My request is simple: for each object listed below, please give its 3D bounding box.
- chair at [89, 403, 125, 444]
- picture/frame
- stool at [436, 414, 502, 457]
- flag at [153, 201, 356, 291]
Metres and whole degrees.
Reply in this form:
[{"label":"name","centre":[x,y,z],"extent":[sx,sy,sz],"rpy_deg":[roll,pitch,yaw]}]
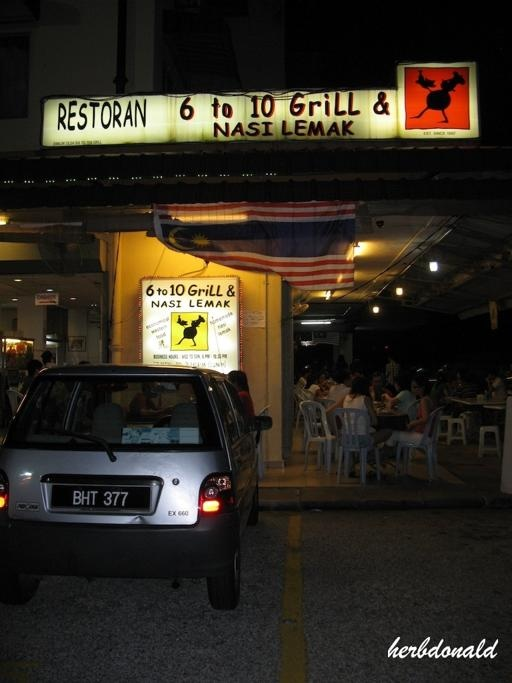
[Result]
[{"label":"chair","centre":[-0.864,0.484,3.611],"extent":[0.192,0.269,0.236],"rpy_deg":[1,-5,-3]},{"label":"picture/frame","centre":[-0.954,-0.246,8.682],"extent":[1.496,1.555,0.225],"rpy_deg":[1,0,-3]},{"label":"stool","centre":[4.385,1.946,12.538],"extent":[1.359,0.662,0.433],"rpy_deg":[0,5,4]},{"label":"flag","centre":[0.067,-1.203,7.839],"extent":[2.373,1.137,0.376],"rpy_deg":[-1,-5,5]}]
